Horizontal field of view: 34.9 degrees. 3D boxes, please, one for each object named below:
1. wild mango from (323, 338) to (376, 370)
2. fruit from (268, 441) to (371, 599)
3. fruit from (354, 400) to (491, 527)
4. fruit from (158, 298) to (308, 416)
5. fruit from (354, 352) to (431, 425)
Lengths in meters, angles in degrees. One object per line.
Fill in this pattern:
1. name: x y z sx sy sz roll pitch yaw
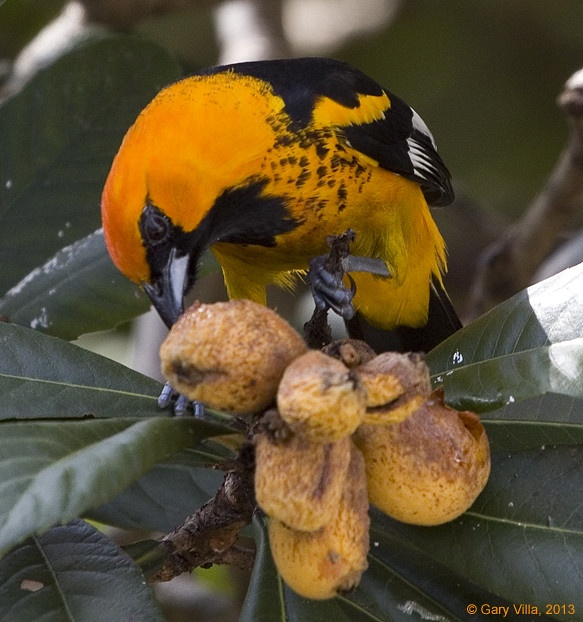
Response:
1. wild mango: 0.068 0.053 1.116 0.042 0.050 0.017 11 95 25
2. fruit: 0.032 0.253 1.147 0.134 0.090 0.174 0 106 1
3. fruit: 0.182 0.192 1.262 0.161 0.103 0.190 25 35 20
4. fruit: -0.073 0.050 1.114 0.151 0.065 0.137 23 76 9
5. fruit: 0.115 0.084 1.069 0.101 0.051 0.070 -12 25 -20
